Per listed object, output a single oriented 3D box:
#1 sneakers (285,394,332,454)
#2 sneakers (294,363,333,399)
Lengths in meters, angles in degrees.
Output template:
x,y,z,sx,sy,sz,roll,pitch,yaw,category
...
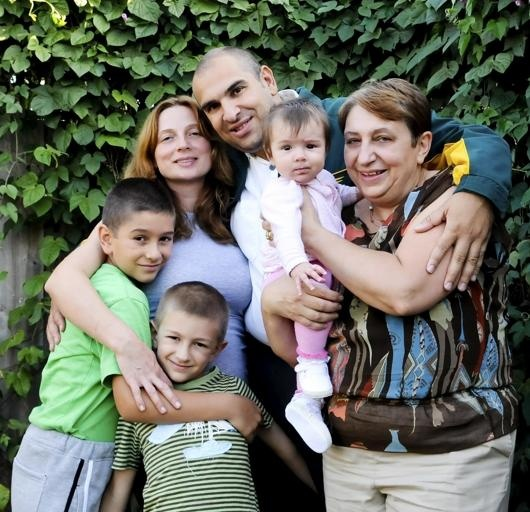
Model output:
x,y,z,sx,sy,sz,roll,pitch,yaw,category
0.168,0.651,2.497,0.165,0.230,0.262,-5,4,0,sneakers
0.189,0.473,2.506,0.146,0.129,0.119,-4,4,8,sneakers
